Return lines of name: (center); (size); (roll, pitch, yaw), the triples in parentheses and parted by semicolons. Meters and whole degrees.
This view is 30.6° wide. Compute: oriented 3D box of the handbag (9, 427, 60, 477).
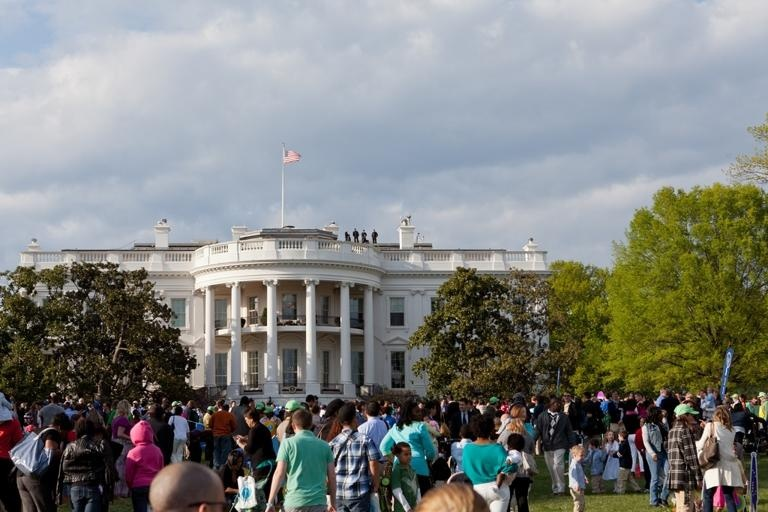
handbag: (-9.716, 5.526, 39.089); (1.059, 1.003, 0.596); (35, 8, 32)

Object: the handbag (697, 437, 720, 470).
handbag: (9.202, 5.593, 39.696); (0.348, 0.855, 0.886); (3, -4, -8)

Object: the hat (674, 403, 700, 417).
hat: (8.924, 4.543, 41.403); (0.665, 0.227, 0.418); (-2, 2, -27)

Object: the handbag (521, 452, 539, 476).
handbag: (4.227, 6.081, 41.097); (0.410, 0.691, 0.473); (-5, -12, 4)
